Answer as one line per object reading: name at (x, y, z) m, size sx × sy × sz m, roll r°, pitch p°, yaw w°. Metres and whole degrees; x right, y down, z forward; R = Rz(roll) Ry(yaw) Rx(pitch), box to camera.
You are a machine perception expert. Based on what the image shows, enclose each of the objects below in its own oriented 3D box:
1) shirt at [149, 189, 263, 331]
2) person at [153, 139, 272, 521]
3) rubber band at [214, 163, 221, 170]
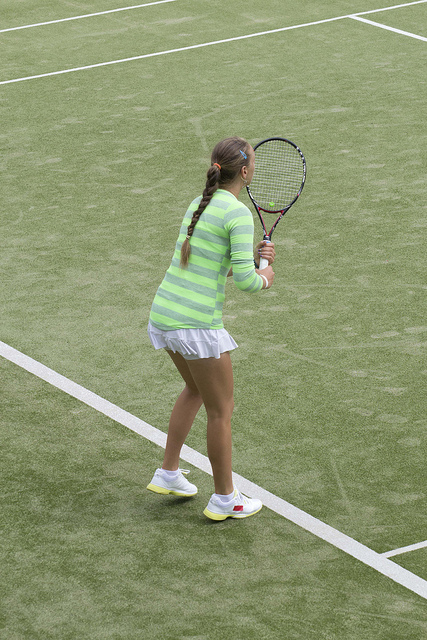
shirt at (0.060, -0.211, 3.319) m, size 0.525 × 0.600 × 0.461 m, roll 7°, pitch 11°, yaw -26°
person at (0.031, 0.079, 3.345) m, size 0.449 × 1.602 × 0.451 m, roll -19°, pitch 30°, yaw -40°
rubber band at (0.009, -0.590, 3.123) m, size 0.027 × 0.020 × 0.015 m, roll 17°, pitch 26°, yaw 36°
